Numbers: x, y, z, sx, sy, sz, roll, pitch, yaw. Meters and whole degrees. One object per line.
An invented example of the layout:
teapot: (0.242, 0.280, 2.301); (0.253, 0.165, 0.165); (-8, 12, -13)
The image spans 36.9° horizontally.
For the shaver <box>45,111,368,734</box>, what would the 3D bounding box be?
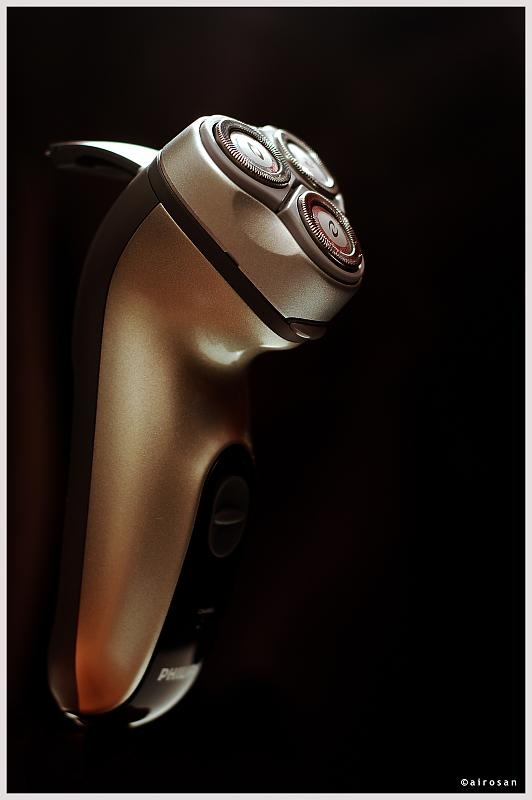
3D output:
shaver: (-0.074, 0.026, 0.847); (0.281, 0.656, 0.182); (8, 8, -15)
